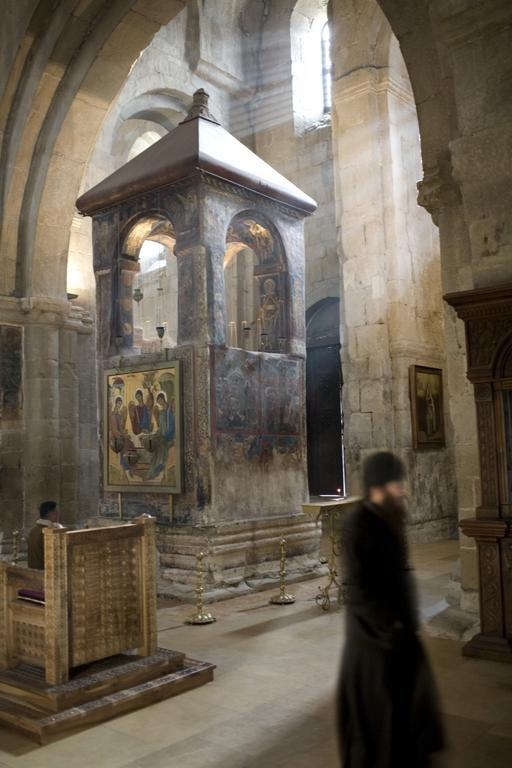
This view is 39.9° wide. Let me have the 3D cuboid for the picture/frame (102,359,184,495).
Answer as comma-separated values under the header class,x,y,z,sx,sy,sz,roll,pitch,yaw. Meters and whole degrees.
class,x,y,z,sx,sy,sz,roll,pitch,yaw
picture/frame,-1.345,0.536,8.642,0.075,1.713,1.492,9,-16,-43
